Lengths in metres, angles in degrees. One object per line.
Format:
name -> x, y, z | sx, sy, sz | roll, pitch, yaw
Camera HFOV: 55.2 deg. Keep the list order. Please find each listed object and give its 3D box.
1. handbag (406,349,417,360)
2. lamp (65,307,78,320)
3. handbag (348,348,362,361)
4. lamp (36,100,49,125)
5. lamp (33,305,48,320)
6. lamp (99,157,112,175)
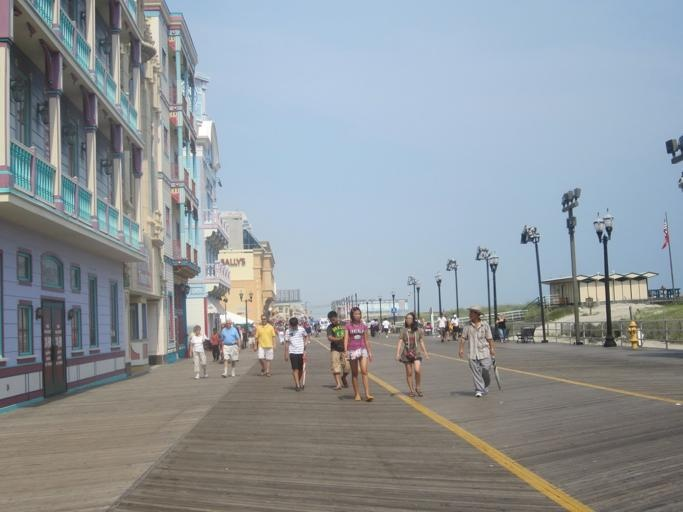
handbag -> 1.751, 2.513, 16.649 | 0.220, 0.140, 0.313 | 5, 2, 12
lamp -> -9.147, 1.959, 22.101 | 0.269, 0.610, 0.401 | 0, -4, -5
handbag -> 0.315, 2.450, 16.439 | 0.451, 0.250, 0.199 | -11, -13, 39
lamp -> -9.530, -4.632, 20.794 | 0.349, 0.929, 0.599 | 2, -10, -22
lamp -> -9.009, 1.701, 19.505 | 0.249, 0.552, 0.347 | 3, -9, -27
lamp -> -9.885, -3.825, 27.468 | 0.328, 0.864, 1.286 | 0, -10, -10
